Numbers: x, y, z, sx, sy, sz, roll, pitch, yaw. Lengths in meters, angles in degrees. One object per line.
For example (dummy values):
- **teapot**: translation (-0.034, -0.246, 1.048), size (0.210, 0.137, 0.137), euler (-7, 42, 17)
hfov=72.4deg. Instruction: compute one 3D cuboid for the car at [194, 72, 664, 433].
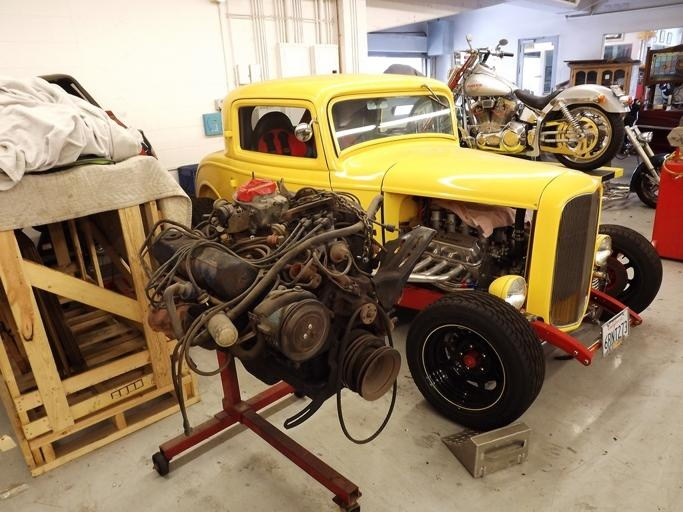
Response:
- **car**: translation (0.091, -0.421, 4.326), size (4.030, 1.840, 2.270), euler (16, 30, 37)
